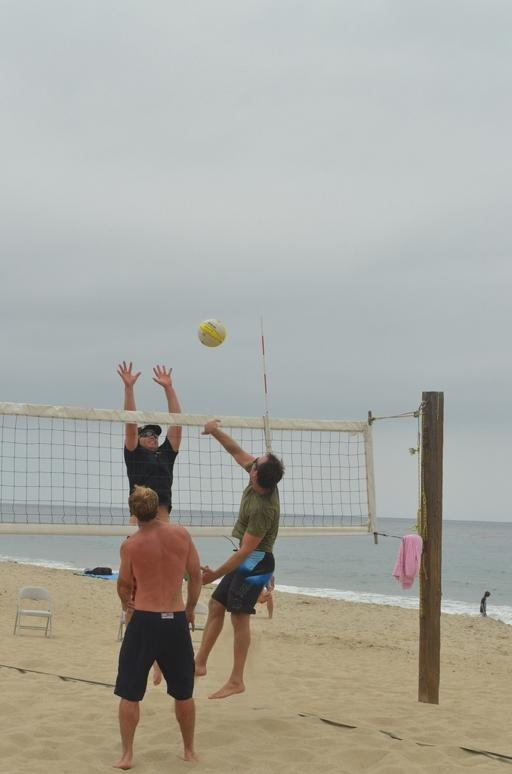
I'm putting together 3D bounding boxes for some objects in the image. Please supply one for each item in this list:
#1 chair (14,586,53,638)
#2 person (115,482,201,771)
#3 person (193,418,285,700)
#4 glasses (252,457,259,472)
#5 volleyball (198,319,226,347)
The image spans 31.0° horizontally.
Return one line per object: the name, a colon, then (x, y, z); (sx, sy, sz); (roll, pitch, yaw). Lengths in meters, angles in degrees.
chair: (-2.499, 2.539, 10.409); (0.407, 0.520, 0.399); (6, -9, -8)
person: (-0.595, 1.418, 5.696); (0.627, 1.554, 0.420); (8, -8, -20)
person: (-0.183, 1.283, 6.754); (0.647, 2.134, 1.090); (6, -7, 2)
glasses: (-0.003, 0.557, 6.581); (0.045, 0.053, 0.097); (24, -49, -3)
volleyball: (-0.376, -0.458, 7.954); (0.203, 0.257, 0.244); (7, -8, -8)
